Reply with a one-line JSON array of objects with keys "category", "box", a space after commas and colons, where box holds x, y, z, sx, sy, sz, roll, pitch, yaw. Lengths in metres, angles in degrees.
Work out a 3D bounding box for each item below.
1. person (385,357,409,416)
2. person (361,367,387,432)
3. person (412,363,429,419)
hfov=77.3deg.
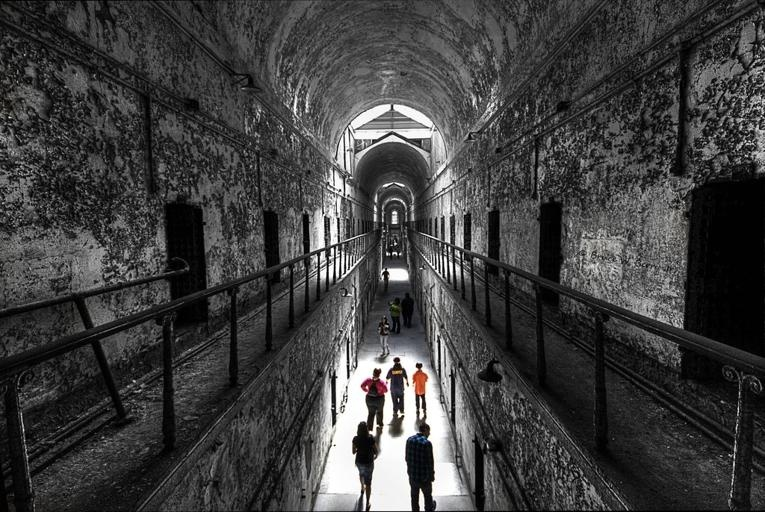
[{"category": "person", "box": [0.302, 2.748, 10.169, 0.393, 1.285, 0.643, 1, 3, 1]}, {"category": "person", "box": [-0.163, 2.813, 9.425, 0.491, 1.234, 0.406, 3, 9, 4]}, {"category": "person", "box": [0.821, 2.789, 10.406, 0.305, 1.181, 1.145, 1, 2, 5]}]
